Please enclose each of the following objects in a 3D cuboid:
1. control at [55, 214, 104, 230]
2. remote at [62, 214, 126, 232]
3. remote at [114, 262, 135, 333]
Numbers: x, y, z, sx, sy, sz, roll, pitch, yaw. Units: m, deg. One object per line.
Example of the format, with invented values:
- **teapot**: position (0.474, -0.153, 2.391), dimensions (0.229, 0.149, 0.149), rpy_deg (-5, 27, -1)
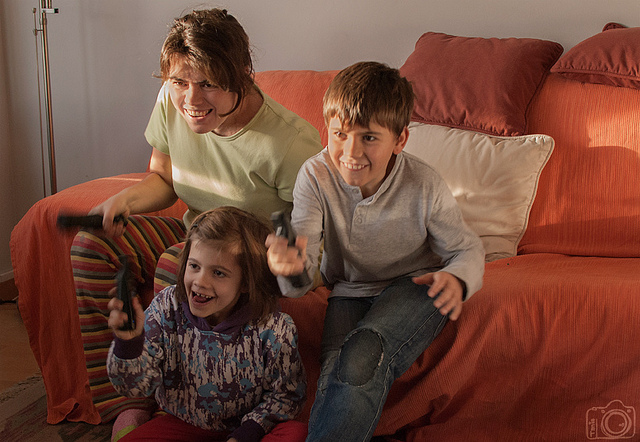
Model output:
- **control**: position (-0.761, 0.000, 1.698), dimensions (0.189, 0.062, 0.055), rpy_deg (-1, 4, -11)
- **remote**: position (-0.734, 0.006, 1.705), dimensions (0.232, 0.076, 0.061), rpy_deg (-1, -3, -7)
- **remote**: position (-0.506, 0.196, 1.362), dimensions (0.042, 0.144, 0.102), rpy_deg (-3, 19, -21)
